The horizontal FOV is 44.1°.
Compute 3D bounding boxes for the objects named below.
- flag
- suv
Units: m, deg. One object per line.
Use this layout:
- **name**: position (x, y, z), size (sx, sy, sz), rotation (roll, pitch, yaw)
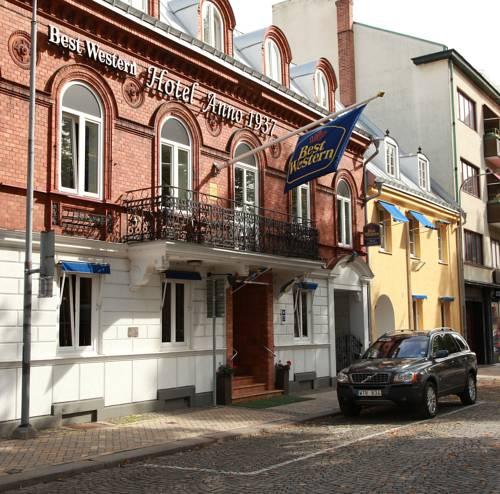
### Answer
- **flag**: position (1.762, -2.453, 16.039), size (0.246, 1.868, 2.496), rotation (26, -21, -28)
- **suv**: position (3.623, 2.782, 13.711), size (1.661, 1.406, 3.337), rotation (-11, -18, 33)
